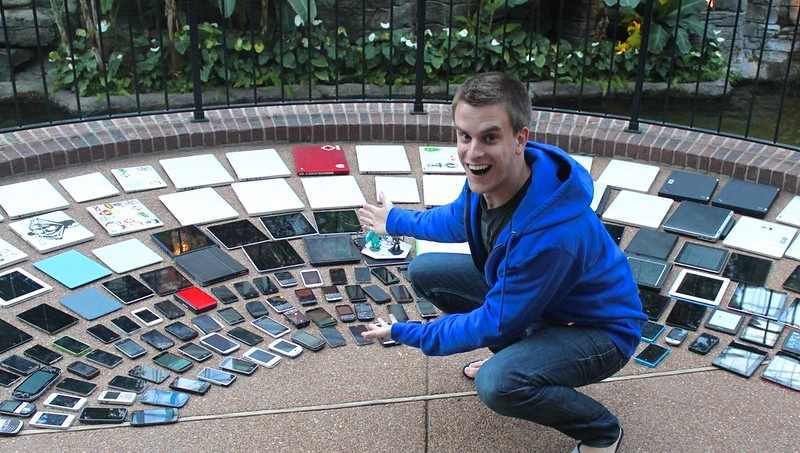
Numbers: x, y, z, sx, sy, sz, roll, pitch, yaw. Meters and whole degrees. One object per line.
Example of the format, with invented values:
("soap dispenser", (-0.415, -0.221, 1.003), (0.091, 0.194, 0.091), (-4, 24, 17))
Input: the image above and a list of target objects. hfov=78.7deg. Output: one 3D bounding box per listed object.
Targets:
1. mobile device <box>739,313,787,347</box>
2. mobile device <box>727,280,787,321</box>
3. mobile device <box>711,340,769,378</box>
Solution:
("mobile device", (2.658, 0.772, 3.593), (0.236, 0.035, 0.307), (14, 40, 39))
("mobile device", (2.784, 0.587, 3.834), (0.393, 0.065, 0.362), (-35, 40, -23))
("mobile device", (2.369, 0.927, 3.408), (0.357, 0.031, 0.261), (-26, 25, -38))
